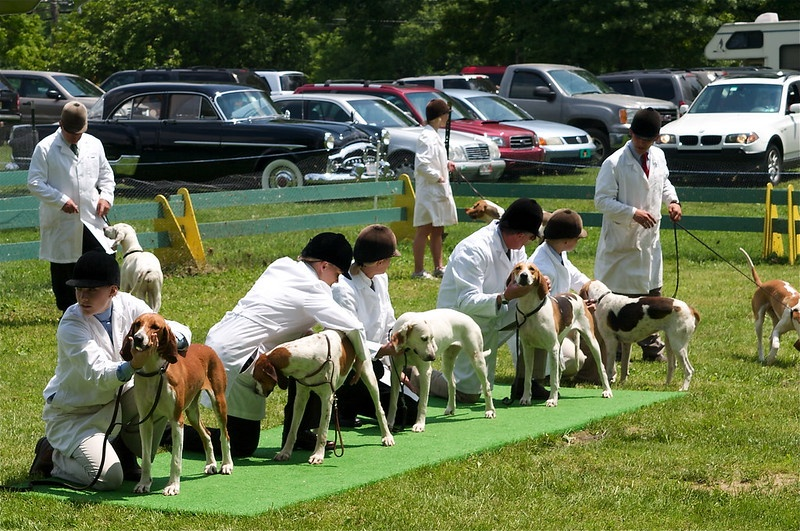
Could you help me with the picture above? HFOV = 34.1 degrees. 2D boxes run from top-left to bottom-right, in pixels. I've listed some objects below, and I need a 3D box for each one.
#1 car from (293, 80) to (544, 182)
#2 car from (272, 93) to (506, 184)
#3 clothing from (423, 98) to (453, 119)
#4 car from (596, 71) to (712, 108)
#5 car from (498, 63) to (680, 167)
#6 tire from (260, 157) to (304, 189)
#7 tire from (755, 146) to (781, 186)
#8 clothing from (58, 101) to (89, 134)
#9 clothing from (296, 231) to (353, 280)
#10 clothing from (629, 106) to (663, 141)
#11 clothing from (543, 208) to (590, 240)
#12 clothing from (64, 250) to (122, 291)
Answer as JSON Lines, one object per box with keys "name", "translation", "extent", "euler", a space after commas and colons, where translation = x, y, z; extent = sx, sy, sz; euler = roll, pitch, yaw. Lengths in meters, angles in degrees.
{"name": "car", "translation": [0.517, -2.779, 29.040], "extent": [5.608, 2.037, 2.258], "euler": [9, 14, 30]}
{"name": "car", "translation": [-0.586, -2.412, 27.055], "extent": [4.993, 1.616, 2.039], "euler": [7, 12, 26]}
{"name": "clothing", "translation": [0.586, -2.489, 20.910], "extent": [0.353, 0.348, 0.450], "euler": [-2, 4, 6]}
{"name": "car", "translation": [6.469, -4.625, 33.379], "extent": [2.491, 1.157, 1.426], "euler": [8, 15, 25]}
{"name": "car", "translation": [4.142, -3.646, 31.338], "extent": [3.758, 1.845, 2.217], "euler": [8, 11, 35]}
{"name": "tire", "translation": [-2.158, -1.684, 24.232], "extent": [0.632, 0.657, 0.646], "euler": [1, 0, 3]}
{"name": "tire", "translation": [7.540, -2.053, 26.739], "extent": [0.452, 0.794, 1.544], "euler": [-1, 5, 17]}
{"name": "clothing", "translation": [-4.413, -1.999, 17.734], "extent": [0.334, 0.436, 0.413], "euler": [-4, 4, -19]}
{"name": "clothing", "translation": [-0.824, -0.105, 15.218], "extent": [0.643, 0.397, 0.484], "euler": [23, -15, 5]}
{"name": "clothing", "translation": [3.250, -1.904, 17.310], "extent": [0.355, 0.380, 0.409], "euler": [16, 30, 2]}
{"name": "clothing", "translation": [2.089, -0.522, 16.519], "extent": [0.480, 0.292, 0.343], "euler": [-7, 20, -32]}
{"name": "clothing", "translation": [-3.320, 0.064, 14.302], "extent": [0.482, 0.298, 0.365], "euler": [0, 5, -44]}
